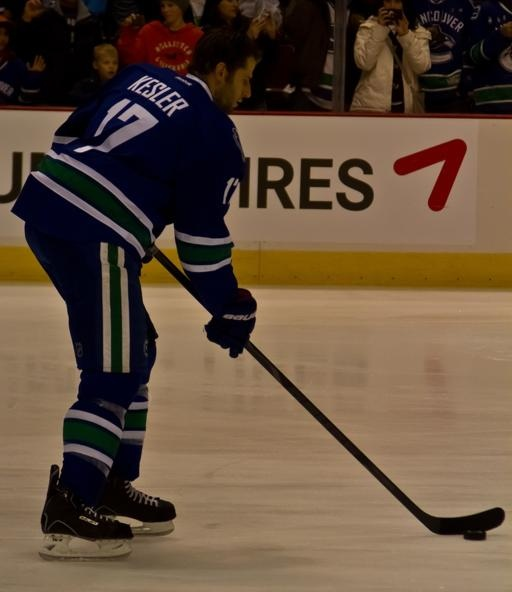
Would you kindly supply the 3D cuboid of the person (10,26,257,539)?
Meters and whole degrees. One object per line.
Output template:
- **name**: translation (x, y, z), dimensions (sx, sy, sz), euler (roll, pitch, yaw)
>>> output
- **person**: translation (-0.310, -0.002, 2.236), dimensions (0.379, 1.012, 0.518), euler (14, 15, 31)

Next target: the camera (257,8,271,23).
- **camera**: translation (0.040, -1.677, 6.017), dimensions (0.088, 0.079, 0.022), euler (-3, -13, -3)

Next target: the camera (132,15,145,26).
- **camera**: translation (-0.727, -1.687, 6.145), dimensions (0.078, 0.072, 0.041), euler (-3, -9, -18)

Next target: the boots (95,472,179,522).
- **boots**: translation (-0.273, 0.472, 2.329), dimensions (0.240, 0.094, 0.070), euler (6, 13, -3)
